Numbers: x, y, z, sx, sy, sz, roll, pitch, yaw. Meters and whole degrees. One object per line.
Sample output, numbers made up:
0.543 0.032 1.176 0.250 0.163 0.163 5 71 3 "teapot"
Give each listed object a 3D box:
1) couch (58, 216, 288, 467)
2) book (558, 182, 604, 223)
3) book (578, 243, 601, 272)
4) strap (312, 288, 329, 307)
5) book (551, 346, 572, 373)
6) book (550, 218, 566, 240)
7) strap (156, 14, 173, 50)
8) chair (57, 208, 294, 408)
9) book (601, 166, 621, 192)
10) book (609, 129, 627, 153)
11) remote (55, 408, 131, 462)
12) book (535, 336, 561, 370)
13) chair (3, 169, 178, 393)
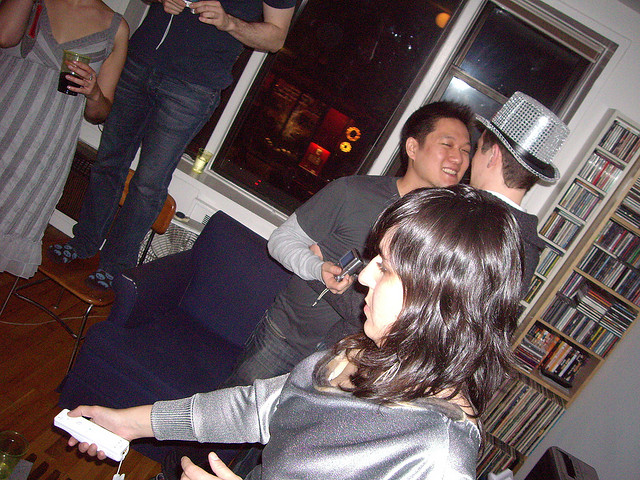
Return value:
-0.689 0.562 2.974 1.242 1.002 1.274 34 20 30 "couch"
1.853 -0.272 3.442 0.286 0.263 0.069 38 17 5 "book"
1.936 0.120 3.466 0.061 0.268 0.066 31 18 -8 "book"
-0.001 0.277 2.337 0.016 0.137 0.026 13 26 -48 "strap"
1.838 0.897 3.672 0.033 0.237 0.034 34 15 9 "book"
1.715 -0.079 3.489 0.025 0.170 0.009 31 16 4 "book"
-0.964 -1.291 3.014 0.018 0.236 0.035 22 6 13 "strap"
-0.866 0.533 3.084 1.103 1.067 1.138 32 27 -1 "chair"
2.045 -0.432 3.394 0.043 0.206 0.039 37 18 22 "book"
2.071 -0.694 3.372 0.032 0.179 0.010 31 16 3 "book"
-0.897 0.764 1.898 0.324 0.076 0.158 27 21 5 "remote"
1.736 0.846 3.675 0.045 0.319 0.038 46 26 28 "book"
-1.415 0.268 2.967 0.655 1.081 0.701 36 25 -6 "chair"
